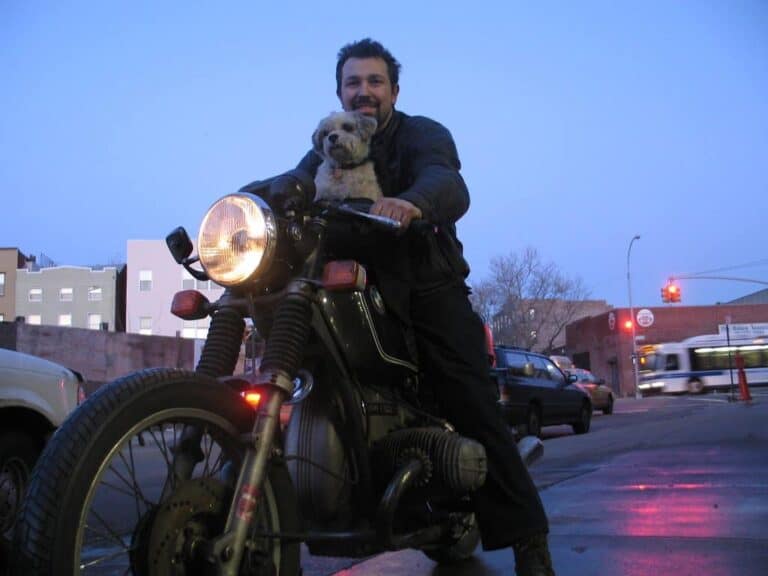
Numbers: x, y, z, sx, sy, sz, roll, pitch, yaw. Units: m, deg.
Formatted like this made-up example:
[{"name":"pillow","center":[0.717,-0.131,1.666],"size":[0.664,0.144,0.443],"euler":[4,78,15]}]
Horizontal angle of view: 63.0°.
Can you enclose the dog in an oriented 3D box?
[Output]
[{"name":"dog","center":[-0.215,-0.739,3.835],"size":[0.340,0.669,0.529],"euler":[4,10,10]}]

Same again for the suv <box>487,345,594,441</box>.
[{"name":"suv","center":[3.087,2.367,14.205],"size":[2.030,2.201,4.616],"euler":[-6,-8,35]}]
